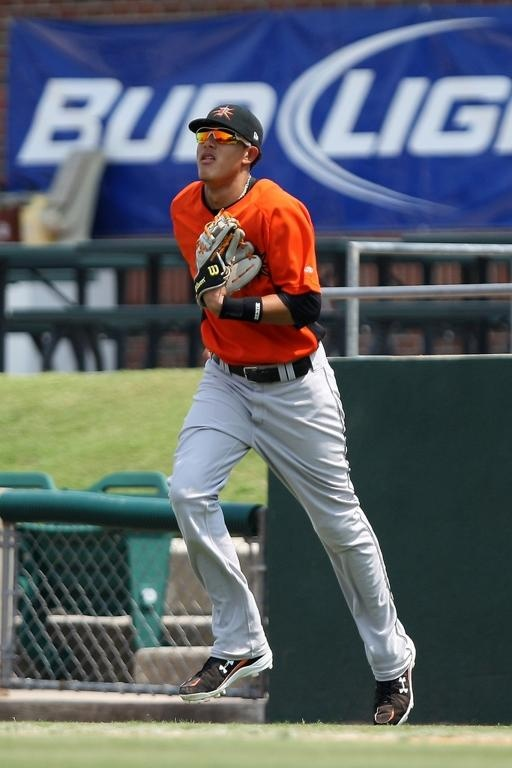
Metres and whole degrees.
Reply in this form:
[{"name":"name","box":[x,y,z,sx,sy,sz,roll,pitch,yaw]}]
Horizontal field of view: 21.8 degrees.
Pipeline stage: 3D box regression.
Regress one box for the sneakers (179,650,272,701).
[{"name":"sneakers","box":[-0.094,0.843,3.827,0.141,0.125,0.316,2,2,30]}]

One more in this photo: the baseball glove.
[{"name":"baseball glove","box":[-0.087,-0.361,3.826,0.117,0.260,0.206,-14,27,-41]}]

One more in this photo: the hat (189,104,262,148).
[{"name":"hat","box":[-0.074,-0.775,3.916,0.187,0.098,0.129,27,-4,-30]}]

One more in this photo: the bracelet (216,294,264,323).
[{"name":"bracelet","box":[-0.042,-0.212,3.714,0.096,0.046,0.071,2,4,-37]}]

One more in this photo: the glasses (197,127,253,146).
[{"name":"glasses","box":[-0.085,-0.711,3.885,0.079,0.023,0.091,4,-9,35]}]

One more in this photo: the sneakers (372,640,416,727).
[{"name":"sneakers","box":[0.419,0.915,4.082,0.090,0.261,0.115,-9,-41,38]}]

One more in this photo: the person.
[{"name":"person","box":[0.098,0.094,3.957,0.710,1.850,0.471,1,2,-5]}]
